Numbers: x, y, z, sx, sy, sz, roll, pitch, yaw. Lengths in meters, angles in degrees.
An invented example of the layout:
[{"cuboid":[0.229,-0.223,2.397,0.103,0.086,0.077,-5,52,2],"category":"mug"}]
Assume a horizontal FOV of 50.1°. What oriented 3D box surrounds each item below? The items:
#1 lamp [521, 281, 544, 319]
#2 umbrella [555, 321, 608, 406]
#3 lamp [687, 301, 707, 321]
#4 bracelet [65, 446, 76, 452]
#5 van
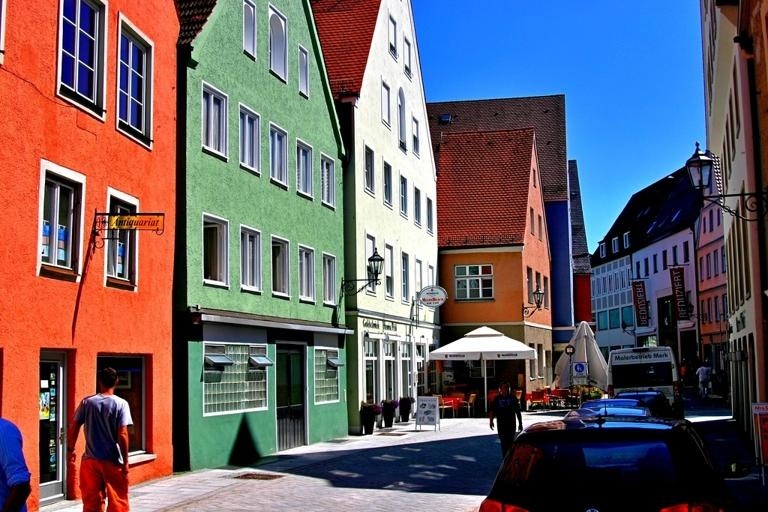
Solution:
[{"cuboid":[7.686,2.247,42.329,1.135,1.811,0.685,-4,8,-5],"category":"lamp"},{"cuboid":[8.875,4.678,35.935,3.015,3.884,2.708,-6,-18,32],"category":"umbrella"},{"cuboid":[26.184,4.617,68.918,1.353,2.225,1.928,1,-5,7],"category":"lamp"},{"cuboid":[-4.968,3.088,13.158,0.096,0.036,0.140,1,-4,11],"category":"bracelet"},{"cuboid":[10.038,4.840,31.707,2.171,2.405,3.799,-2,-4,14],"category":"van"}]
